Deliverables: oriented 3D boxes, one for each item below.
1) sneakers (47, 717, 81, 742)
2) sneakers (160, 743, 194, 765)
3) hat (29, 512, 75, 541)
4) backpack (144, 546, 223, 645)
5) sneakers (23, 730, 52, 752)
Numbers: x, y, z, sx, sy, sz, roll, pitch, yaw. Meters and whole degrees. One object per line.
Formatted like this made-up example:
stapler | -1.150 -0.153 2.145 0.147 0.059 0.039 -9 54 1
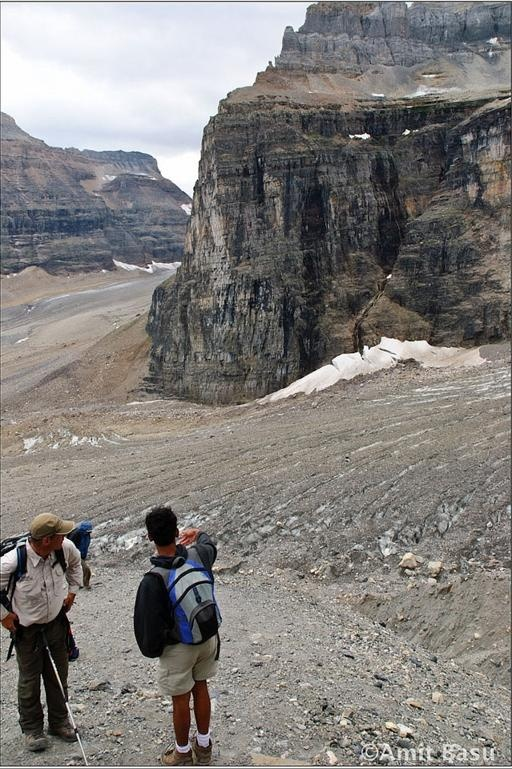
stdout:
sneakers | -1.729 3.107 6.375 0.312 0.149 0.112 2 -3 23
sneakers | -0.648 3.045 5.829 0.287 0.129 0.141 1 -19 6
hat | -1.787 1.241 6.140 0.323 0.166 0.217 -8 22 -27
backpack | -0.550 1.674 5.554 0.380 0.704 0.548 4 3 38
sneakers | -1.942 3.123 6.206 0.212 0.133 0.218 1 3 -17
